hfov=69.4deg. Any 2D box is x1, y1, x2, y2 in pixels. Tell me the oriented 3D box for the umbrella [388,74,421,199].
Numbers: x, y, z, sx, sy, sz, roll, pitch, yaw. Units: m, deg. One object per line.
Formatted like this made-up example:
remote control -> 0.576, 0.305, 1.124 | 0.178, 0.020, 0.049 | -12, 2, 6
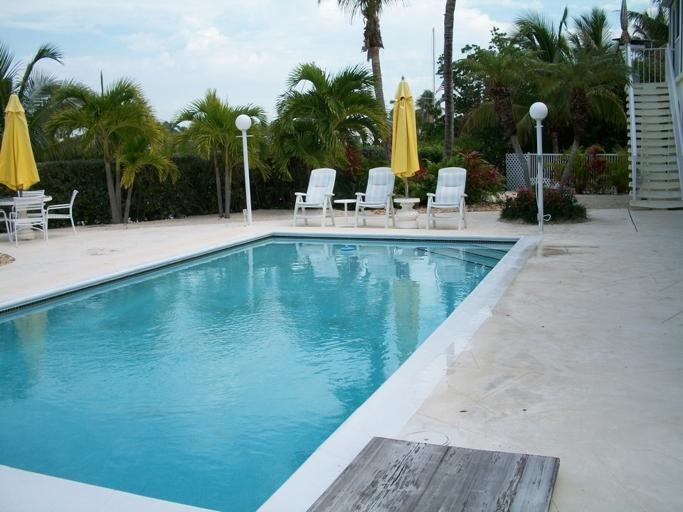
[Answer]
umbrella -> 1.448, -2.798, 11.625 | 0.649, 2.764, 0.529 | -4, 6, 1
